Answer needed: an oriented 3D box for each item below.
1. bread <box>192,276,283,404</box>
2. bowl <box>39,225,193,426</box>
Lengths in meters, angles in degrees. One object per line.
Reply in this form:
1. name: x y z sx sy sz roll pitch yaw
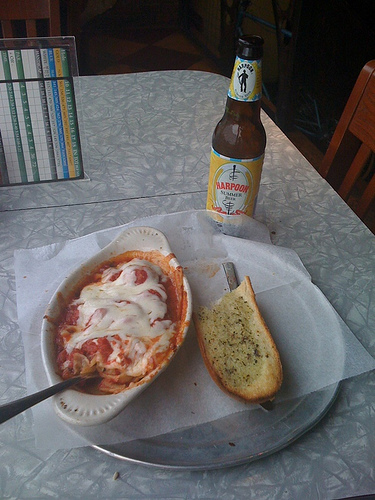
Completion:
1. bread: 0.059 0.112 0.547 0.092 0.039 0.184 -3 40 -12
2. bowl: -0.084 0.089 0.546 0.173 0.059 0.282 12 48 3
